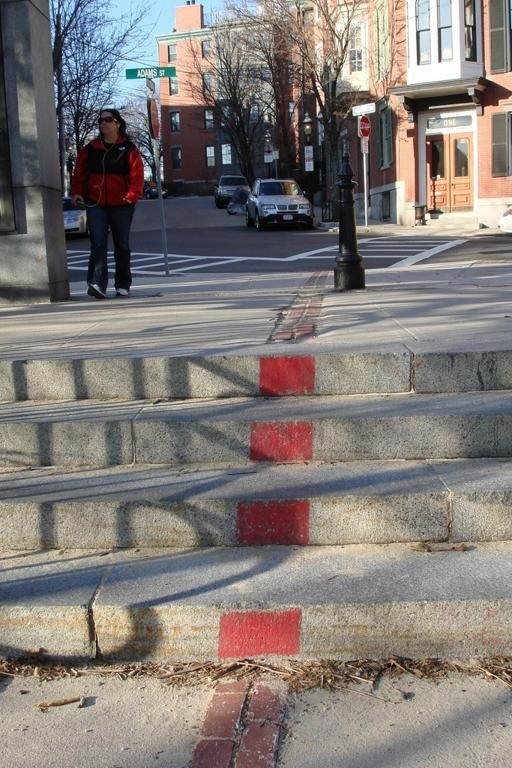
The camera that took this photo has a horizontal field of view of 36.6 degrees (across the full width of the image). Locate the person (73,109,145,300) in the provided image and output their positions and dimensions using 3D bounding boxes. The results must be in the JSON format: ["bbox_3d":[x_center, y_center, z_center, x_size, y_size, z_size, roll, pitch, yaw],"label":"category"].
[{"bbox_3d":[-1.455,-1.795,7.787,0.696,1.852,0.675,-5,6,-8],"label":"person"}]

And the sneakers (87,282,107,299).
[{"bbox_3d":[-1.586,-0.910,7.815,0.099,0.104,0.239,-20,-22,2],"label":"sneakers"}]

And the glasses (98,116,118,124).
[{"bbox_3d":[-1.420,-2.541,7.488,0.168,0.090,0.143,-5,6,-3],"label":"glasses"}]
